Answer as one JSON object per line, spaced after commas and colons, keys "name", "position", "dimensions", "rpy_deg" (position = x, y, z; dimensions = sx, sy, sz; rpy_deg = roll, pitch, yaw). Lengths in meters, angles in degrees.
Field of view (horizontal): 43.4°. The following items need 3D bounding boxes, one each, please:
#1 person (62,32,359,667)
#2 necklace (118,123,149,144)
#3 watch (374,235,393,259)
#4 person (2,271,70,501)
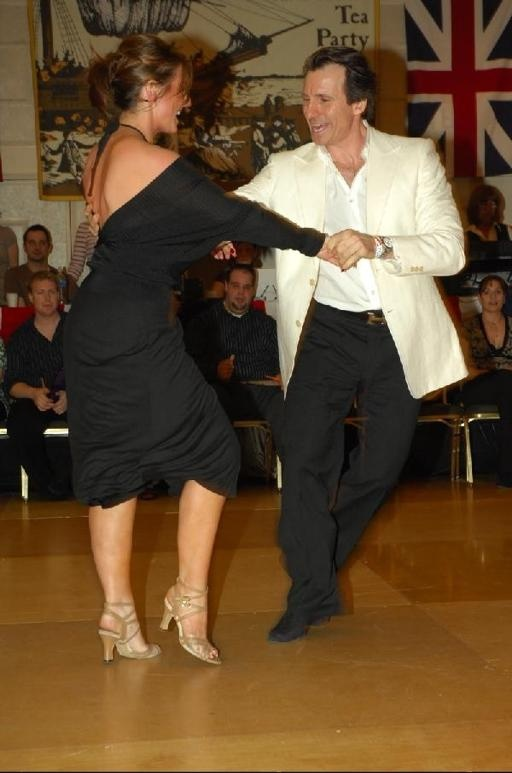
{"name": "person", "position": [-0.210, -0.028, 1.672], "dimensions": [0.571, 1.626, 0.351], "rpy_deg": [1, 14, 2]}
{"name": "necklace", "position": [-0.302, -0.619, 1.559], "dimensions": [0.073, 0.042, 0.067], "rpy_deg": [0, 13, -5]}
{"name": "watch", "position": [0.333, -0.362, 1.683], "dimensions": [0.040, 0.044, 0.062], "rpy_deg": [-9, 3, 22]}
{"name": "person", "position": [-1.527, 0.007, 4.486], "dimensions": [0.433, 1.560, 0.622], "rpy_deg": [-3, 14, -16]}
